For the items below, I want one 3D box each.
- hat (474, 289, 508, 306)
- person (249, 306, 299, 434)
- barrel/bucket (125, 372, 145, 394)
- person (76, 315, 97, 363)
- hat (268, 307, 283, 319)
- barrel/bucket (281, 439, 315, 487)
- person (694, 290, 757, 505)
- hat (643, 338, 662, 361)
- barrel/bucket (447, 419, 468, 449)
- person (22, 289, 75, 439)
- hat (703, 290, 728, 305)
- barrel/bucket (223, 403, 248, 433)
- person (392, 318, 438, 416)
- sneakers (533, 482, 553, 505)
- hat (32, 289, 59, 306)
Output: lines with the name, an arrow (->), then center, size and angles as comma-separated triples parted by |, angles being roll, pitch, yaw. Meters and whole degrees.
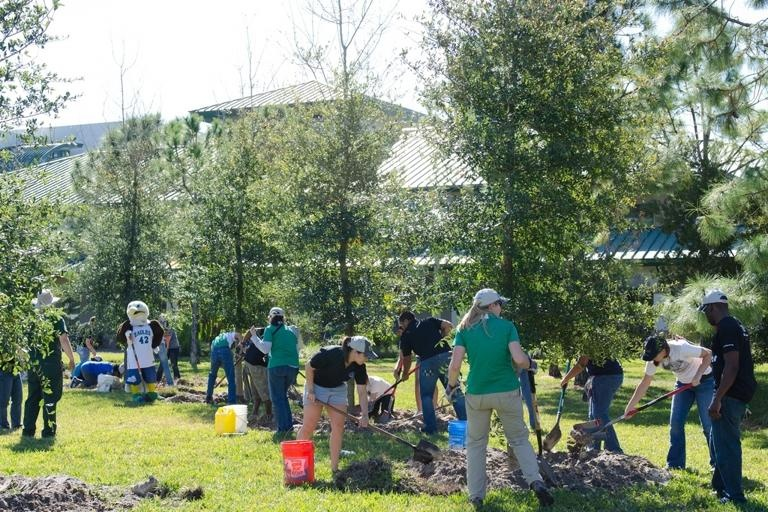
hat -> 1.886, 0.727, 19.621 | 0.449, 0.229, 0.316 | -6, 6, -32
person -> -2.202, 2.443, 23.271 | 0.900, 2.742, 0.925 | 4, -11, -43
barrel/bucket -> -5.946, 3.036, 26.621 | 0.317, 0.494, 0.423 | -15, 34, -43
person -> -8.824, 2.483, 32.926 | 0.523, 1.630, 3.598 | 3, -11, -15
hat -> -2.258, 1.196, 23.310 | 0.189, 0.181, 0.288 | -1, -1, -19
barrel/bucket -> -1.569, 3.773, 20.452 | 0.645, 0.852, 0.704 | -2, 4, 0
person -> 6.111, 2.472, 19.698 | 0.834, 3.739, 0.590 | -2, -8, 19
hat -> 5.046, 1.732, 20.851 | 0.261, 0.458, 0.256 | 10, -24, 33
barrel/bucket -> 1.466, 3.463, 21.716 | 0.430, 0.593, 0.484 | 1, 3, 7
person -> -6.858, 2.182, 22.544 | 0.829, 3.113, 0.796 | 5, 9, 6
hat -> 5.935, 0.753, 20.031 | 0.256, 0.226, 0.355 | 0, -3, -36
barrel/bucket -> -3.085, 3.394, 23.261 | 0.441, 0.532, 0.493 | -1, -4, 3
person -> 0.615, 2.562, 25.352 | 0.991, 2.272, 0.451 | 0, -1, -5
sneakers -> 2.758, 4.144, 19.317 | 0.135, 0.316, 0.207 | -33, -7, 9
hat -> -6.850, 0.863, 22.465 | 0.540, 0.293, 0.638 | 1, -5, -19
